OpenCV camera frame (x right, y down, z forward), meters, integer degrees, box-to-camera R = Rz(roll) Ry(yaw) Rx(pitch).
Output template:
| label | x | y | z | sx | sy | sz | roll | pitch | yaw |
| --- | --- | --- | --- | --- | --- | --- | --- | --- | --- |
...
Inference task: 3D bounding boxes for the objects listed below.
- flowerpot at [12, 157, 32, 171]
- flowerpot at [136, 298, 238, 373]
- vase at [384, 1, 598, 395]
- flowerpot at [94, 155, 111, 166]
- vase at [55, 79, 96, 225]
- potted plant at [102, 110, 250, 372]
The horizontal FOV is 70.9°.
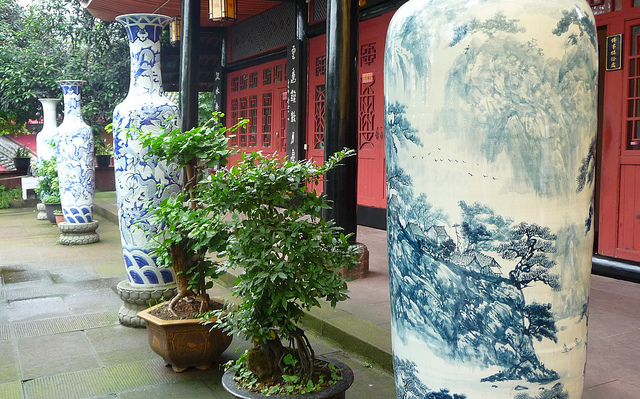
| label | x | y | z | sx | sy | sz | roll | pitch | yaw |
| --- | --- | --- | --- | --- | --- | --- | --- | --- | --- |
| flowerpot | -7.978 | -0.927 | 12.046 | 0.392 | 0.278 | 0.394 | 0 | 1 | -2 |
| flowerpot | -0.797 | 0.975 | 2.975 | 0.590 | 0.370 | 0.542 | -6 | -13 | 1 |
| vase | 0.556 | -0.003 | 1.504 | 0.643 | 1.322 | 0.318 | 0 | 9 | 20 |
| flowerpot | -6.209 | -1.115 | 12.879 | 0.399 | 0.328 | 0.440 | -7 | 9 | -26 |
| vase | -3.706 | -0.713 | 6.784 | 0.526 | 2.141 | 0.497 | -8 | 10 | -31 |
| potted plant | -0.926 | 0.286 | 2.866 | 0.797 | 1.497 | 0.790 | 3 | 0 | -36 |
